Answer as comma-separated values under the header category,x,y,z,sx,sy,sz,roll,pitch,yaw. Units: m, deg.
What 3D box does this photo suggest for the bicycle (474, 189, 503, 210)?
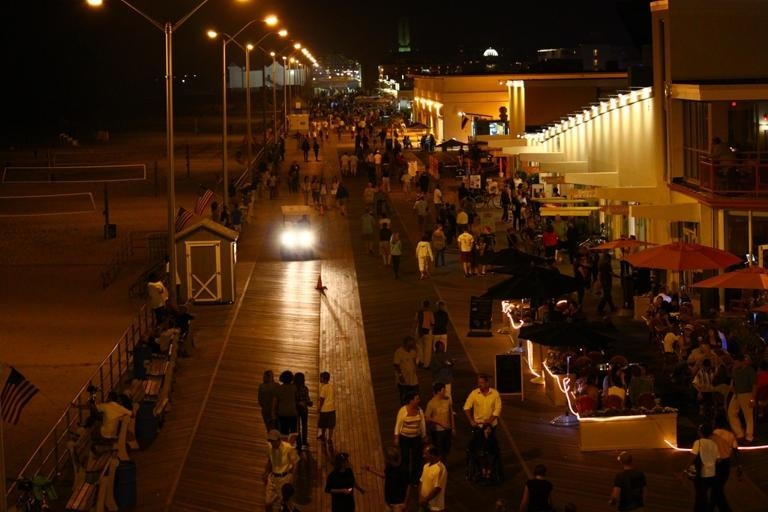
category,x,y,z,sx,sy,sz,roll,pitch,yaw
bicycle,6.306,-3.411,44.260,1.752,1.159,0.925,-7,17,-11

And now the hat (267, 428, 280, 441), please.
category,x,y,z,sx,sy,sz,roll,pitch,yaw
hat,-2.085,3.354,13.564,0.205,0.262,0.341,-3,9,-14

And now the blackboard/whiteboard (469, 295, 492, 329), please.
category,x,y,z,sx,sy,sz,roll,pitch,yaw
blackboard/whiteboard,3.181,1.933,24.112,0.847,1.257,1.180,-1,-2,4

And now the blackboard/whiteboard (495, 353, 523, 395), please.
category,x,y,z,sx,sy,sz,roll,pitch,yaw
blackboard/whiteboard,3.249,3.108,18.868,1.001,1.545,0.075,0,9,1
